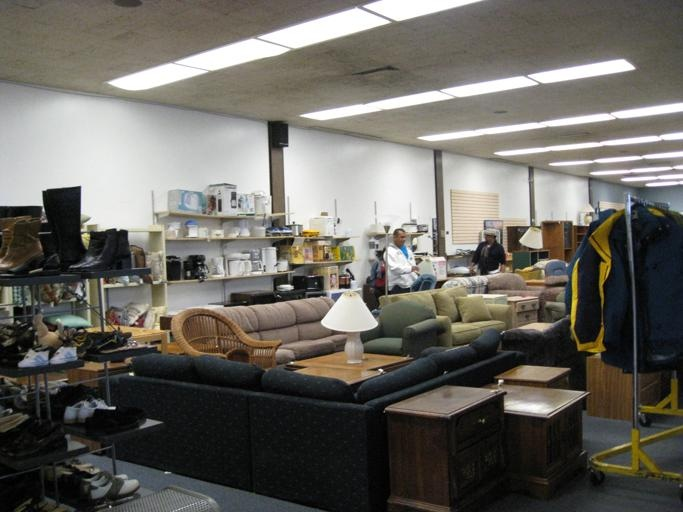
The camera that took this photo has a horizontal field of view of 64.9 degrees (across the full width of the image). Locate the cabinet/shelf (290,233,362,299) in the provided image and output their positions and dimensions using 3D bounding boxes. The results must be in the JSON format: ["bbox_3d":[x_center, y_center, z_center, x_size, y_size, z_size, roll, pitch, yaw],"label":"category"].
[{"bbox_3d":[-0.343,0.189,9.609,0.528,0.934,1.663,-2,0,34],"label":"cabinet/shelf"}]

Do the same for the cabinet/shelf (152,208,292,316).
[{"bbox_3d":[-1.912,0.108,8.243,0.370,1.030,2.142,-4,0,40],"label":"cabinet/shelf"}]

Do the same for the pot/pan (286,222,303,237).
[{"bbox_3d":[-0.794,-0.458,9.461,0.213,0.180,0.315,-3,-3,28],"label":"pot/pan"}]

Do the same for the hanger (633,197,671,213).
[{"bbox_3d":[2.433,-0.395,4.204,0.218,0.109,0.680,0,3,36],"label":"hanger"}]

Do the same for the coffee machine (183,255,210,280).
[{"bbox_3d":[-2.166,0.178,7.991,0.450,0.305,0.412,-2,-2,25],"label":"coffee machine"}]

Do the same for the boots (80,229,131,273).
[{"bbox_3d":[-1.601,-0.037,3.569,0.406,0.199,0.309,-3,15,5],"label":"boots"}]

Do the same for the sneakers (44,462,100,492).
[{"bbox_3d":[-1.831,1.496,3.664,0.387,0.082,0.254,1,1,27],"label":"sneakers"}]

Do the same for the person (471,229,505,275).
[{"bbox_3d":[3.267,-0.060,12.030,0.681,0.982,0.651,-2,4,18],"label":"person"}]

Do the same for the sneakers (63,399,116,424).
[{"bbox_3d":[-1.608,0.990,3.410,0.329,0.079,0.153,-1,-5,-7],"label":"sneakers"}]

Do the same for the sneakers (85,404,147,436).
[{"bbox_3d":[-1.388,1.007,3.281,0.266,0.062,0.162,-1,3,18],"label":"sneakers"}]

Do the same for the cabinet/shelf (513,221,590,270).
[{"bbox_3d":[4.804,-0.248,12.763,1.898,1.230,0.580,5,-3,-33],"label":"cabinet/shelf"}]

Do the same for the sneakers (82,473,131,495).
[{"bbox_3d":[-1.497,1.485,3.452,0.172,0.068,0.231,1,0,39],"label":"sneakers"}]
